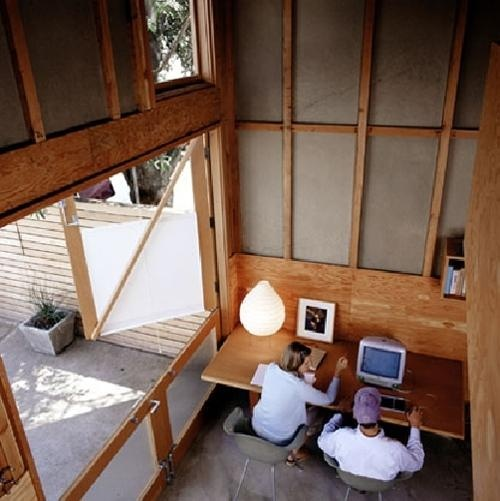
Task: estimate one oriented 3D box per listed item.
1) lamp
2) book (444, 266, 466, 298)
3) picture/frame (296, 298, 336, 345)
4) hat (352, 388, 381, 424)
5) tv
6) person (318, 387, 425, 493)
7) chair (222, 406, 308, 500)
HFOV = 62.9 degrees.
[{"bbox_3d":[0.069,0.496,3.573,0.397,0.509,0.413,-4,16,-9],"label":"lamp"},{"bbox_3d":[1.570,0.227,3.123,0.136,0.268,0.193,4,21,14],"label":"book"},{"bbox_3d":[0.617,0.639,3.734,0.354,0.454,0.022,4,10,22],"label":"picture/frame"},{"bbox_3d":[0.755,0.995,2.625,0.135,0.129,0.240,3,38,15],"label":"hat"},{"bbox_3d":[1.041,0.847,3.417,0.475,0.548,0.313,1,1,21],"label":"tv"},{"bbox_3d":[0.823,1.197,2.760,0.672,0.622,0.495,8,16,8],"label":"person"},{"bbox_3d":[0.112,1.542,3.097,0.551,0.769,0.593,9,17,12],"label":"chair"}]
